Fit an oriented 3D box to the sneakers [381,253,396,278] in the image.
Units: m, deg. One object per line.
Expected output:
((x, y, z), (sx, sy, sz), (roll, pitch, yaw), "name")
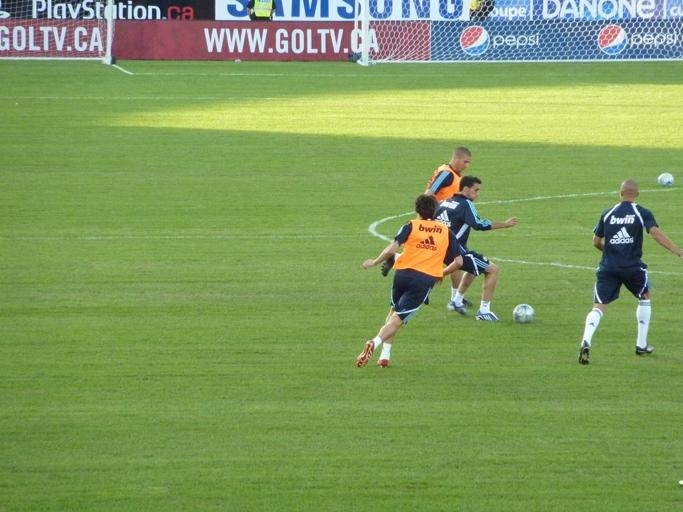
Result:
((0.734, 0.136, 25.970), (0.137, 0.376, 0.161), (19, -30, 53), "sneakers")

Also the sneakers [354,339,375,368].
((0.412, 1.435, 25.378), (0.180, 0.479, 0.237), (43, 19, 32), "sneakers")

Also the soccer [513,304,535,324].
((2.935, 0.906, 27.086), (0.321, 0.263, 0.184), (-2, 8, -1), "soccer")

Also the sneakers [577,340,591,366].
((3.680, 1.448, 25.603), (0.161, 0.356, 0.188), (3, 10, 13), "sneakers")

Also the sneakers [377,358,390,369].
((0.675, 1.608, 25.656), (0.153, 0.132, 0.317), (0, -5, -7), "sneakers")

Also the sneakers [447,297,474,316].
((2.038, 0.820, 27.608), (0.525, 0.218, 0.177), (11, 28, -39), "sneakers")

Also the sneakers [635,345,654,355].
((4.644, 1.439, 26.060), (0.309, 0.100, 0.150), (-9, -35, 6), "sneakers")

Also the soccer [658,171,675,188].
((6.628, -1.534, 34.694), (0.327, 0.299, 0.294), (25, 23, -11), "soccer")

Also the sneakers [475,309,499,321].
((2.340, 0.938, 27.177), (0.418, 0.163, 0.131), (4, 7, -7), "sneakers")
